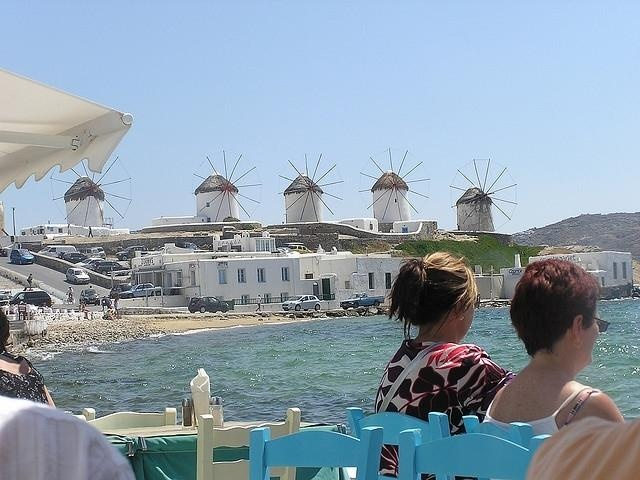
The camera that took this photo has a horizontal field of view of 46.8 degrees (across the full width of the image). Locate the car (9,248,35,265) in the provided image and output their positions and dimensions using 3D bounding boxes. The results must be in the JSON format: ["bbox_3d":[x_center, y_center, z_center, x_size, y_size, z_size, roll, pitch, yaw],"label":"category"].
[{"bbox_3d":[-22.991,1.332,57.005,1.123,0.879,1.935,1,-3,-41],"label":"car"}]

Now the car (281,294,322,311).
[{"bbox_3d":[-1.162,3.936,46.050,1.996,0.667,1.020,7,-9,-44],"label":"car"}]

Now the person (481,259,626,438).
[{"bbox_3d":[0.942,0.443,3.065,0.495,0.699,0.359,0,-2,12],"label":"person"}]

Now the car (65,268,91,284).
[{"bbox_3d":[-16.252,2.453,49.627,0.960,0.735,1.717,0,-1,-37],"label":"car"}]

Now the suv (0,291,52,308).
[{"bbox_3d":[-15.785,3.477,39.590,2.360,1.100,1.458,3,-3,7],"label":"suv"}]

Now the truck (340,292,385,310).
[{"bbox_3d":[3.003,4.107,49.603,3.556,1.082,1.617,-4,4,-43],"label":"truck"}]

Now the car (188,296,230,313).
[{"bbox_3d":[-6.396,3.841,43.265,2.132,0.699,1.024,-2,2,-27],"label":"car"}]

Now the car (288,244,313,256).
[{"bbox_3d":[-1.935,0.848,67.069,1.655,0.785,0.919,-3,4,-10],"label":"car"}]

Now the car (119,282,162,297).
[{"bbox_3d":[-10.807,3.070,45.012,2.091,0.646,0.844,0,-2,-16],"label":"car"}]
